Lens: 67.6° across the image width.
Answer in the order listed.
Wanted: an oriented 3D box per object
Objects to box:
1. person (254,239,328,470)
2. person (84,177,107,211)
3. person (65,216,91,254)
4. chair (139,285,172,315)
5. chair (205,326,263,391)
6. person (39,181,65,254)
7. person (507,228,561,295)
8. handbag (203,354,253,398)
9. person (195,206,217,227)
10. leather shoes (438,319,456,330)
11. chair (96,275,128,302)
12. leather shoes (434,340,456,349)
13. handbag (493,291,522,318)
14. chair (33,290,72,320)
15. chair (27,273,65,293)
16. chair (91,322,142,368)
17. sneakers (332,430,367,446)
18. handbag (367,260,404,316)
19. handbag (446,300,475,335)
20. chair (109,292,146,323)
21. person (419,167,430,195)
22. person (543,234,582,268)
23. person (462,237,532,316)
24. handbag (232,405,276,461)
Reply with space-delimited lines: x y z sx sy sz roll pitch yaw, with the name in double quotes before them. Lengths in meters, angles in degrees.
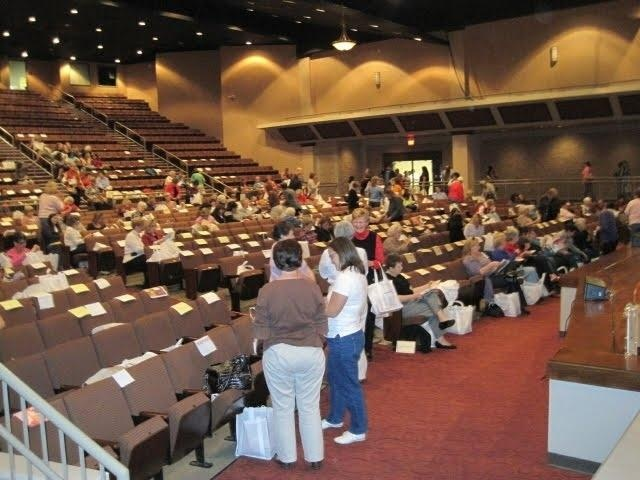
"person" -0.167 0.809 3.239 0.474 1.629 0.255 -7 6 -3
"person" -6.379 -1.344 13.586 0.502 0.996 1.489 -9 6 -25
"person" -4.446 -0.035 8.870 0.532 0.825 0.402 -5 18 -22
"chair" -1.911 0.699 5.595 0.291 0.349 0.293 -7 -8 -42
"chair" -0.775 1.015 3.979 0.480 0.433 0.405 -2 -12 -21
"person" -5.618 -0.415 9.721 0.480 1.424 0.438 7 3 26
"person" 3.455 0.389 7.766 0.633 1.080 0.372 -19 42 26
"handbag" -0.761 1.068 3.943 0.420 0.177 0.536 -2 0 18
"person" -2.535 -0.557 10.625 0.431 0.412 0.847 -7 5 -12
"leather shoes" 1.517 0.990 5.690 0.115 0.084 0.292 -26 -16 32
"chair" -2.649 0.605 6.123 0.312 0.357 0.320 -12 3 41
"leather shoes" 1.474 1.240 5.639 0.240 0.088 0.084 0 0 7
"handbag" 2.680 0.912 6.835 0.362 0.302 0.366 1 -3 25
"chair" -3.016 0.746 5.465 0.286 0.345 0.275 -7 -3 35
"chair" -3.472 0.561 6.104 0.281 0.123 0.358 4 11 18
"chair" -1.794 0.949 4.235 0.161 0.254 0.297 -18 -1 29
"sneakers" 0.230 1.540 3.728 0.266 0.097 0.094 2 -1 -8
"handbag" 0.582 0.505 4.601 0.264 0.420 0.227 -10 7 -33
"handbag" 1.816 1.015 6.318 0.417 0.489 0.400 -1 -1 38
"chair" -2.063 0.737 5.140 0.141 0.236 0.268 -20 -6 29
"person" 4.944 -2.893 22.722 0.515 1.381 2.673 -5 5 13
"person" 4.441 0.151 8.856 0.544 0.870 0.369 -1 24 28
"person" 2.474 0.407 7.140 0.736 0.786 0.649 -1 20 19
"handbag" -0.451 1.443 3.693 0.336 0.372 0.396 2 12 3
